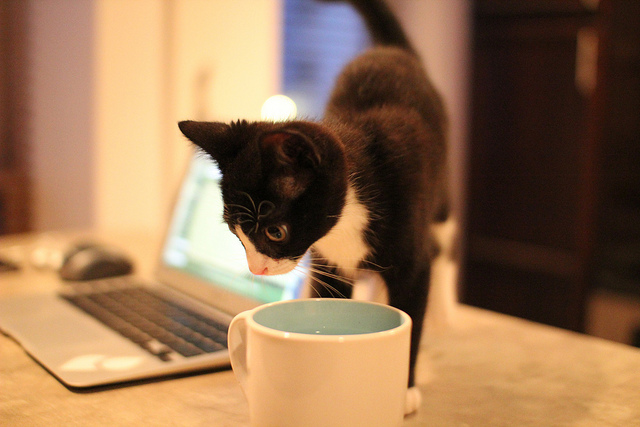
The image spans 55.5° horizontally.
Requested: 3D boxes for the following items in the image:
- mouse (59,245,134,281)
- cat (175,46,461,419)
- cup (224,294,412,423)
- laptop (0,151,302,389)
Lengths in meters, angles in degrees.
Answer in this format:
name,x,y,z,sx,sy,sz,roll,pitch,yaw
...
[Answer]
name,x,y,z,sx,sy,sz,roll,pitch,yaw
mouse,-0.389,0.089,1.078,0.102,0.035,0.062,-3,5,-27
cat,0.117,-0.082,1.098,0.225,0.576,0.771,11,40,30
cup,0.001,0.158,0.798,0.201,0.147,0.158,-1,3,25
laptop,-0.291,0.138,0.991,0.406,0.256,0.397,1,18,-28
